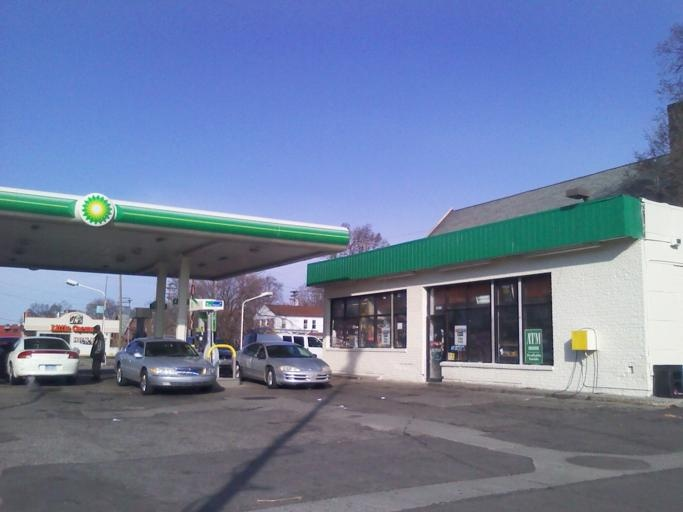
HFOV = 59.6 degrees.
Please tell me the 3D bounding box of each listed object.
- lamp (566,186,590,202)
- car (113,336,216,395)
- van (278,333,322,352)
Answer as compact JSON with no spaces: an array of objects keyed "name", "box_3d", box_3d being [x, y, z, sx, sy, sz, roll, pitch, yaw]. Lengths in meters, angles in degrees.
[{"name":"lamp","box_3d":[7.814,-2.004,19.461,0.580,0.247,0.662,5,-6,-27]},{"name":"car","box_3d":[-5.755,3.514,19.318,1.831,1.651,3.823,3,-5,-40]},{"name":"van","box_3d":[-2.177,5.136,33.411,2.092,1.178,1.387,-1,-4,-13]}]
